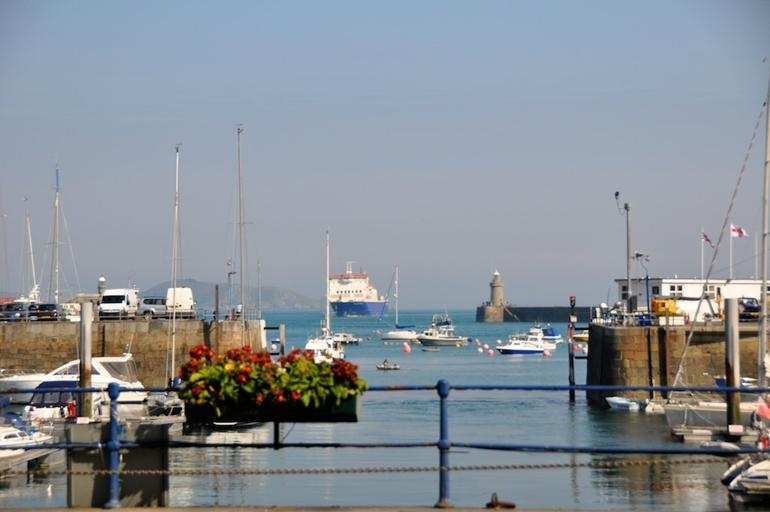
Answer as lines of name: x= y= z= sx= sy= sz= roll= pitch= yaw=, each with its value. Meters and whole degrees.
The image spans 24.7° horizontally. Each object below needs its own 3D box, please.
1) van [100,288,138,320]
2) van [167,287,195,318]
van: x=-15.412 y=2.734 z=102.195 sx=2.437 sy=1.734 sz=1.824 roll=-1 pitch=-3 yaw=-15
van: x=-11.990 y=2.675 z=103.272 sx=1.507 sy=1.796 sz=4.807 roll=-1 pitch=-3 yaw=-3
